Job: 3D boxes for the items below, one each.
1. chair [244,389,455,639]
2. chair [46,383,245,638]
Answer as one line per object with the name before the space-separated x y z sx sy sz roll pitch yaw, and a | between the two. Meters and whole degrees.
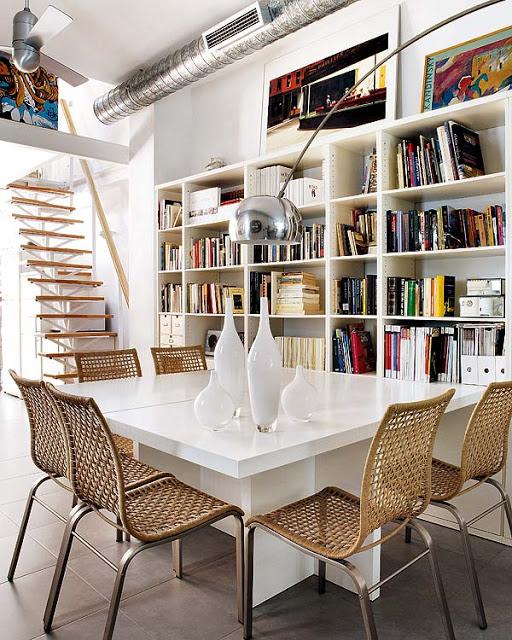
chair | 0.248 0.555 1.389 0.431 0.773 0.507 -6 6 -42
chair | -0.340 0.569 1.498 0.502 0.804 0.527 -6 6 -42
